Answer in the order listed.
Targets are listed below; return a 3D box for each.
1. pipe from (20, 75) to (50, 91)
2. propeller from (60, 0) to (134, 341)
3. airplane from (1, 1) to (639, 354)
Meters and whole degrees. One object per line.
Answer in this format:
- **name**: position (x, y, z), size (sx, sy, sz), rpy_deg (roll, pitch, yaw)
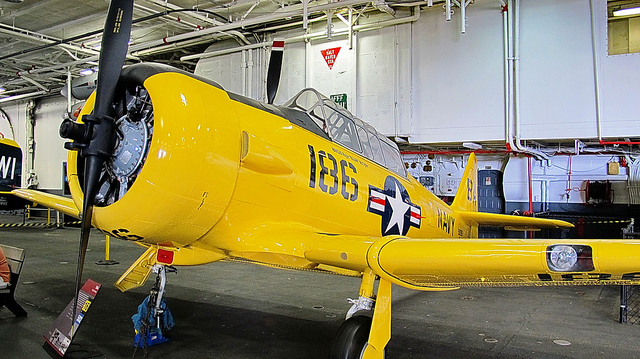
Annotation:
- **pipe**: position (-10.658, -3.591, 17.248), size (0.205, 0.204, 0.993), rpy_deg (-35, -37, 21)
- **propeller**: position (-2.667, -0.456, 5.597), size (0.411, 3.530, 0.751), rpy_deg (5, 5, 31)
- **airplane**: position (0.839, -0.193, 8.454), size (5.815, 2.669, 7.498), rpy_deg (10, -7, -37)
